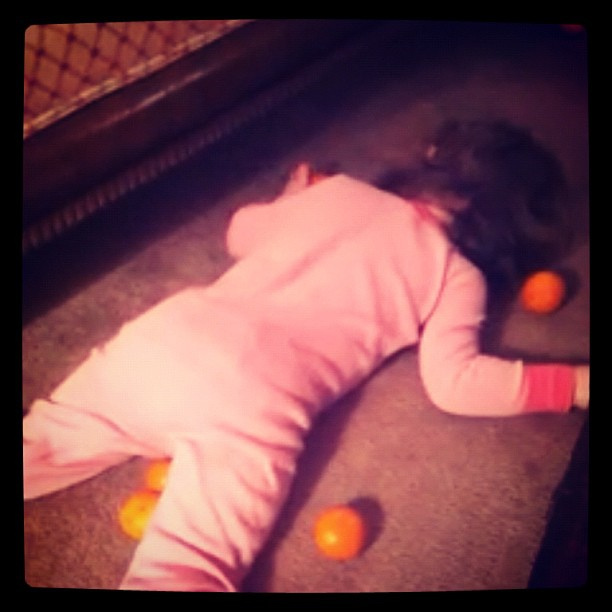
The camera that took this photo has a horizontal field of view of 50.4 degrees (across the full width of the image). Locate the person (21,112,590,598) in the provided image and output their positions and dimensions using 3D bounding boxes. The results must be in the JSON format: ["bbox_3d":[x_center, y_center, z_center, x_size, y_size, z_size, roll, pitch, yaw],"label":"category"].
[{"bbox_3d":[0.035,0.113,1.500,0.791,0.354,1.155,43,85,5],"label":"person"}]

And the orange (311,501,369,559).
[{"bbox_3d":[0.068,0.440,1.274,0.108,0.036,0.098,10,70,4],"label":"orange"}]

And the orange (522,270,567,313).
[{"bbox_3d":[0.482,-0.029,1.310,0.070,0.043,0.088,0,90,-2],"label":"orange"}]

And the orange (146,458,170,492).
[{"bbox_3d":[-0.290,0.331,1.276,0.041,0.031,0.062,5,93,-5],"label":"orange"}]
